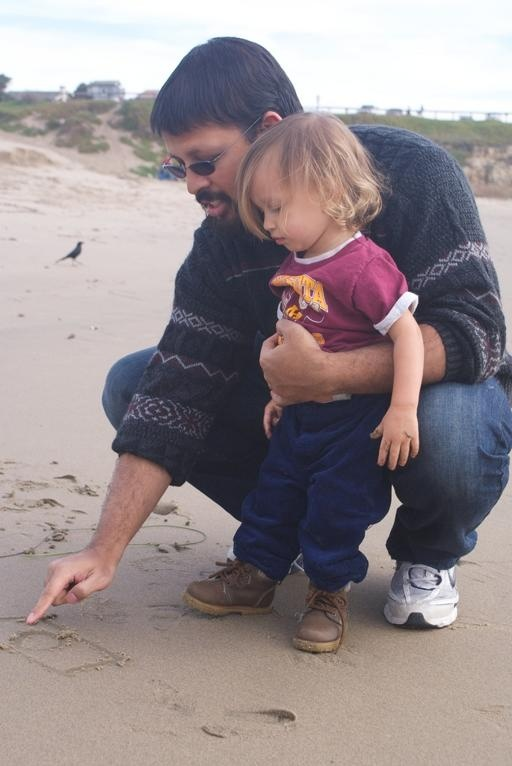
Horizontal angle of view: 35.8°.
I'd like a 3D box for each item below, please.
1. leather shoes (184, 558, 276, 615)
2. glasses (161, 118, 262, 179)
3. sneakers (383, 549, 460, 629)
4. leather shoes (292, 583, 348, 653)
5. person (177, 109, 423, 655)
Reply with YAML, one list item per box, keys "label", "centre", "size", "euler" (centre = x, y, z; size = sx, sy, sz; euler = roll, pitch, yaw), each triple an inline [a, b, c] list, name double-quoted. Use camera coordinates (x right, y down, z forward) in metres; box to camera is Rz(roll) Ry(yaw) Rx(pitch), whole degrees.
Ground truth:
- label: "leather shoes"
  centre: [-0.059, 0.495, 1.944]
  size: [0.240, 0.121, 0.101]
  euler: [12, 4, -20]
- label: "glasses"
  centre: [-0.089, -0.617, 2.084]
  size: [0.207, 0.059, 0.197]
  euler: [-42, 23, -19]
- label: "sneakers"
  centre: [0.410, 0.507, 1.947]
  size: [0.179, 0.135, 0.355]
  euler: [0, -9, 11]
- label: "leather shoes"
  centre: [0.151, 0.539, 1.794]
  size: [0.068, 0.076, 0.187]
  euler: [1, -3, 16]
- label: "person"
  centre: [0.136, -0.029, 1.856]
  size: [0.558, 1.217, 0.390]
  euler: [11, 11, 22]
